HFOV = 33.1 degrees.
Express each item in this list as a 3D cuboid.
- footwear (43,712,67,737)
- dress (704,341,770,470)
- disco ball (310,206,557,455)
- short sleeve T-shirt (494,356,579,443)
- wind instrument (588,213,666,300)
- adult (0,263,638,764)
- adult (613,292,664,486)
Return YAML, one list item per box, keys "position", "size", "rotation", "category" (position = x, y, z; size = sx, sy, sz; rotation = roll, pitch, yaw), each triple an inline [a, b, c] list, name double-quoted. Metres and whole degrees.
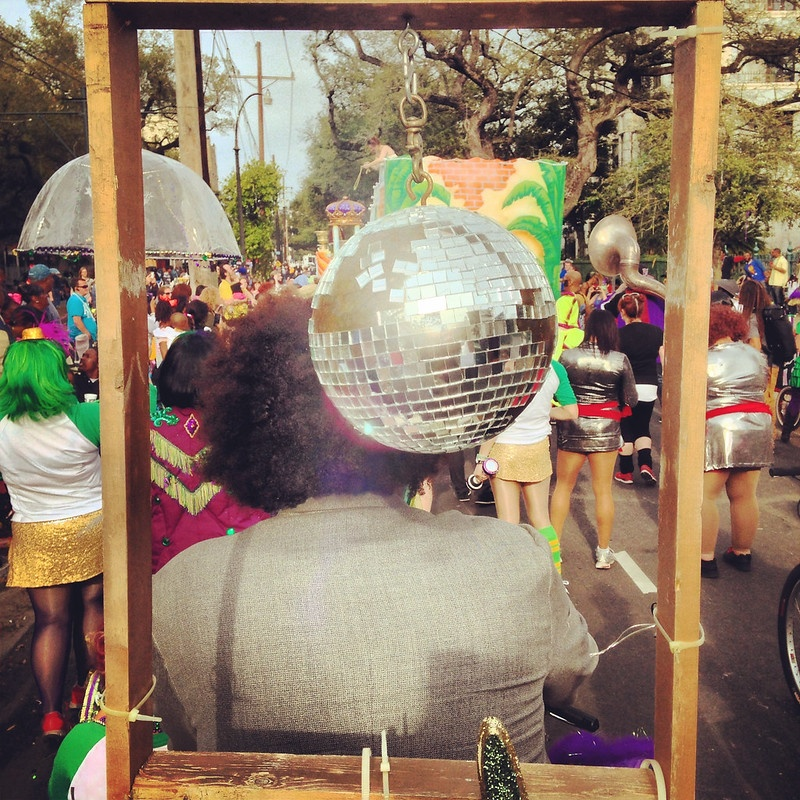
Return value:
- position: [-1.503, 1.399, 5.814]
  size: [0.050, 0.084, 0.154]
  rotation: [0, -3, -11]
  category: "footwear"
- position: [1.868, -0.029, 7.365]
  size: [0.399, 0.704, 0.385]
  rotation: [-1, 21, 20]
  category: "dress"
- position: [0.062, -0.153, 3.780]
  size: [0.630, 0.772, 0.670]
  rotation: [-4, 3, 0]
  category: "disco ball"
- position: [0.665, 0.020, 7.151]
  size: [0.451, 0.531, 0.277]
  rotation: [-7, -16, 15]
  category: "short sleeve T-shirt"
- position: [1.387, -0.861, 8.106]
  size: [0.359, 0.423, 0.765]
  rotation: [1, 11, -2]
  category: "wind instrument"
- position: [-0.159, 0.018, 4.193]
  size: [1.533, 2.260, 1.044]
  rotation: [1, 10, 6]
  category: "adult"
- position: [1.699, -0.088, 9.911]
  size: [0.476, 1.410, 0.375]
  rotation: [9, 14, 36]
  category: "adult"
